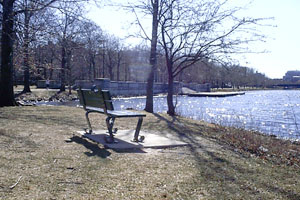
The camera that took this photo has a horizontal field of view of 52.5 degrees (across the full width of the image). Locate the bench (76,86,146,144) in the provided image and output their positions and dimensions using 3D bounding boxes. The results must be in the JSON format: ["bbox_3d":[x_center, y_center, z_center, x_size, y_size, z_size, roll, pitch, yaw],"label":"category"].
[{"bbox_3d":[-1.394,0.449,10.438,1.641,1.719,3.079,1,2,-27],"label":"bench"}]
